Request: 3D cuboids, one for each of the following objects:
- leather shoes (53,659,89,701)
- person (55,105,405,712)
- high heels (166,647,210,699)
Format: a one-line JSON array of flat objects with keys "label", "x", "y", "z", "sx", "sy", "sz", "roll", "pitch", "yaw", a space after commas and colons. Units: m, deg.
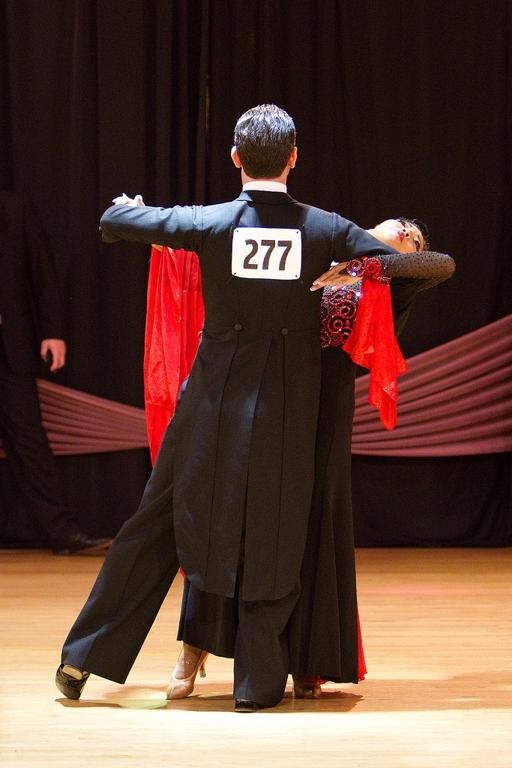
[{"label": "leather shoes", "x": -0.375, "y": 0.600, "z": 1.637, "sx": 0.041, "sy": 0.111, "sz": 0.046, "roll": 6, "pitch": 46, "yaw": 16}, {"label": "person", "x": -0.064, "y": 0.040, "z": 1.654, "sx": 0.694, "sy": 1.220, "sz": 0.260, "roll": -2, "pitch": -5, "yaw": 8}, {"label": "high heels", "x": -0.146, "y": 0.623, "z": 1.758, "sx": 0.054, "sy": 0.086, "sz": 0.170, "roll": 5, "pitch": 4, "yaw": 17}]
